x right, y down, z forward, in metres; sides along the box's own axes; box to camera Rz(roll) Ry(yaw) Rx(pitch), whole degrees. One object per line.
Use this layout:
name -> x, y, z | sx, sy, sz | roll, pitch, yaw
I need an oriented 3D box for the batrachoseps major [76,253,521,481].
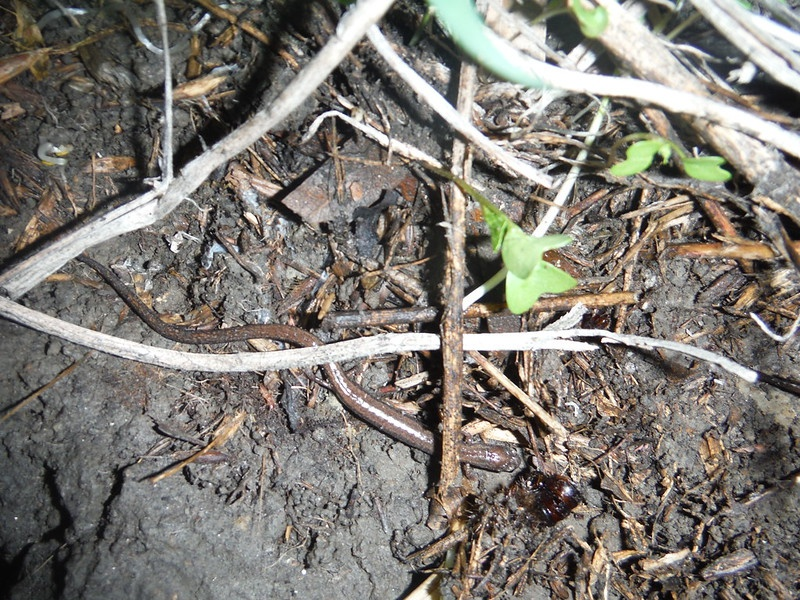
batrachoseps major -> -0.631, 0.338, 3.457 | 2.228, 0.187, 0.299 | 27, 49, -6
